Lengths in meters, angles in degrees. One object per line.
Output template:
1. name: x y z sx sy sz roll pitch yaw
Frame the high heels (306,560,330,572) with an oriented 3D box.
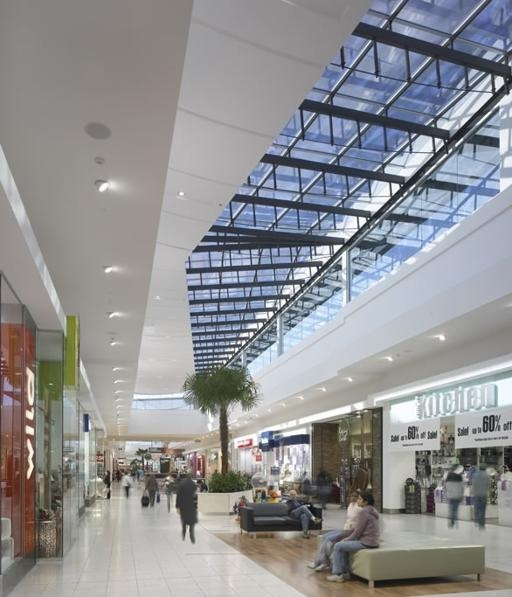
1. high heels: 0.916 3.996 7.424 0.363 0.177 0.127 3 -13 15

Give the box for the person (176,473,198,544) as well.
1. person: -1.347 4.145 9.567 0.382 1.366 1.752 2 -15 -7

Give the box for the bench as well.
1. bench: 2.143 3.599 6.850 1.748 0.453 0.984 4 -16 -13

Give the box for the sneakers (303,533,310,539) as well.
1. sneakers: 1.131 5.332 11.188 0.063 0.079 0.188 9 -12 -16

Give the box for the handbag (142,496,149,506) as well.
1. handbag: -4.763 8.698 21.386 0.315 0.444 0.622 4 -16 -14

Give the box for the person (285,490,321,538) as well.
1. person: 1.056 4.947 11.524 0.601 1.068 0.374 -26 -31 30
